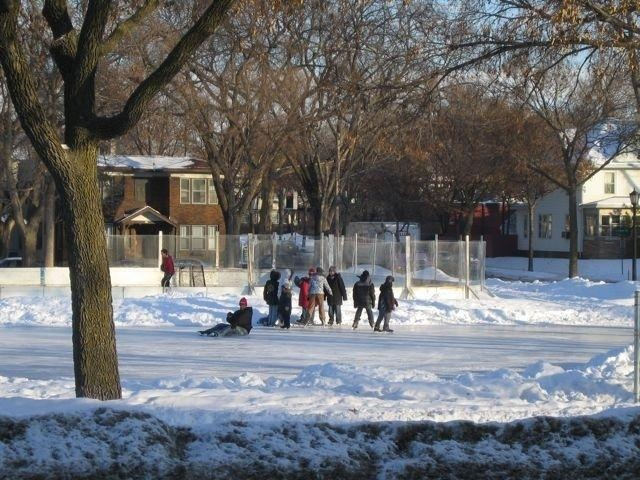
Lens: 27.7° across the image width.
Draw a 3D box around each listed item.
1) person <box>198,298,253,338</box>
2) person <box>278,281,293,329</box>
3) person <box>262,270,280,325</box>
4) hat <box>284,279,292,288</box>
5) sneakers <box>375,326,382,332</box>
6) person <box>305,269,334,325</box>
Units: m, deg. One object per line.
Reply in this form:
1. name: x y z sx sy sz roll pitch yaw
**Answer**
1. person: -3.038 2.500 41.675 1.738 1.594 0.901 -1 1 -3
2. person: -1.194 2.168 43.448 0.400 1.525 0.603 0 7 -10
3. person: -1.650 1.932 43.685 0.491 1.946 1.145 1 7 -2
4. hat: -1.076 1.477 43.677 0.218 0.338 0.305 -3 7 -7
5. sneakers: 1.897 2.928 42.730 0.128 0.134 0.227 -4 -14 22
6. person: -0.059 1.880 44.183 0.809 2.056 0.875 1 7 0
